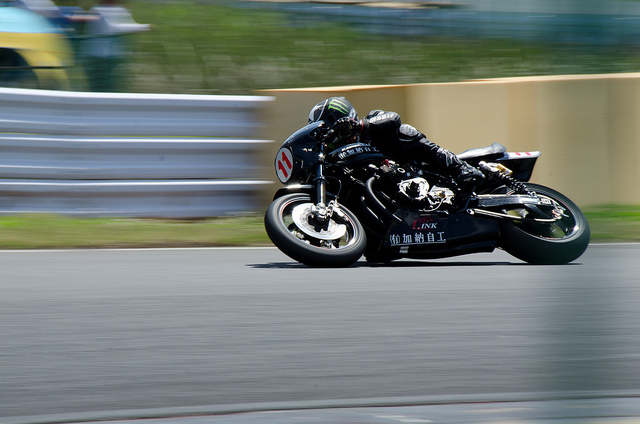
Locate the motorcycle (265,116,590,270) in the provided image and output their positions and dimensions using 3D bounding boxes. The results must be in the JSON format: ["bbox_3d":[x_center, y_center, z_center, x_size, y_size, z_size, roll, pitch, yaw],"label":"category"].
[{"bbox_3d":[0.802,-0.187,7.008,4.040,1.479,1.110,-3,-26,-44],"label":"motorcycle"}]

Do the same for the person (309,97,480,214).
[{"bbox_3d":[0.844,-0.553,6.674,2.022,0.496,0.953,18,-2,-15],"label":"person"}]
